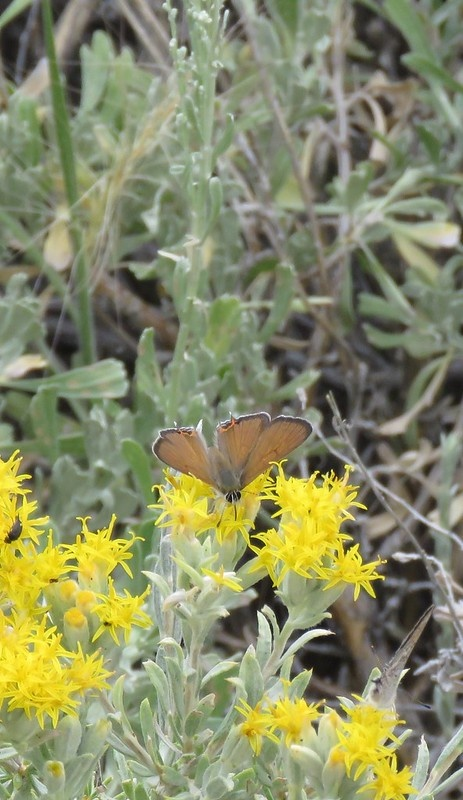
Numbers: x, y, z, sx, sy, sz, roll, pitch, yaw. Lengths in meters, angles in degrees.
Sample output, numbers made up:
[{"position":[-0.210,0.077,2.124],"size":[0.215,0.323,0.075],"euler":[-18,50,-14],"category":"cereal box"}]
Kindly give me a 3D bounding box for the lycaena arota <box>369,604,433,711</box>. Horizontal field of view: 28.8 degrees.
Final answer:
[{"position":[0.135,0.212,0.755],"size":[0.039,0.079,0.080],"euler":[5,79,10],"category":"lycaena arota"}]

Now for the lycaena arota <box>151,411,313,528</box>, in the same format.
[{"position":[-0.015,0.048,0.728],"size":[0.138,0.067,0.074],"euler":[-18,54,-33],"category":"lycaena arota"}]
